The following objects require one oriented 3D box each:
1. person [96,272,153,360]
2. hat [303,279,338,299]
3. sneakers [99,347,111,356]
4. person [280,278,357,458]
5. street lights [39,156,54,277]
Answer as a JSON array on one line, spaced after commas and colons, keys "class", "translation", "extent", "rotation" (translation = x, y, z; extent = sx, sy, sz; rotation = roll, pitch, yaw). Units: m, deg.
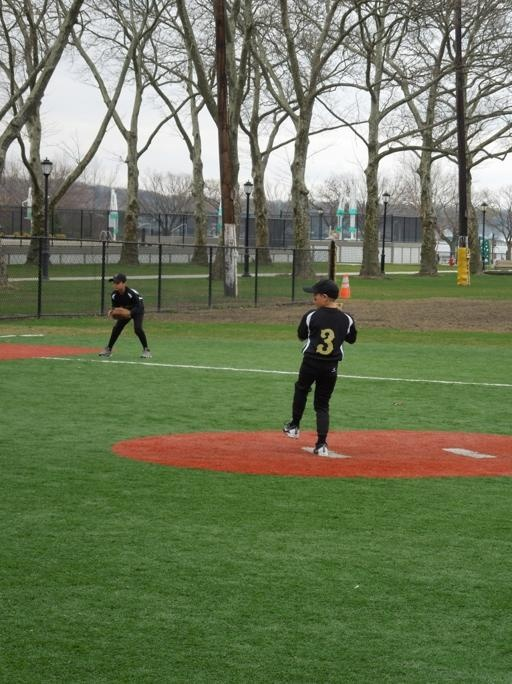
[{"class": "person", "translation": [-1.795, -0.353, 16.239], "extent": [0.683, 1.202, 2.271], "rotation": [0, 5, -5]}, {"class": "hat", "translation": [0.486, -0.403, 8.891], "extent": [0.219, 0.122, 0.145], "rotation": [7, 7, 11]}, {"class": "sneakers", "translation": [-2.046, 0.157, 16.115], "extent": [0.161, 0.121, 0.082], "rotation": [6, 5, 36]}, {"class": "person", "translation": [0.507, 0.184, 9.301], "extent": [0.570, 1.365, 0.889], "rotation": [1, 5, 1]}, {"class": "street lights", "translation": [-6.923, -4.035, 38.842], "extent": [0.616, 4.056, 0.556], "rotation": [-1, 4, -23]}]
